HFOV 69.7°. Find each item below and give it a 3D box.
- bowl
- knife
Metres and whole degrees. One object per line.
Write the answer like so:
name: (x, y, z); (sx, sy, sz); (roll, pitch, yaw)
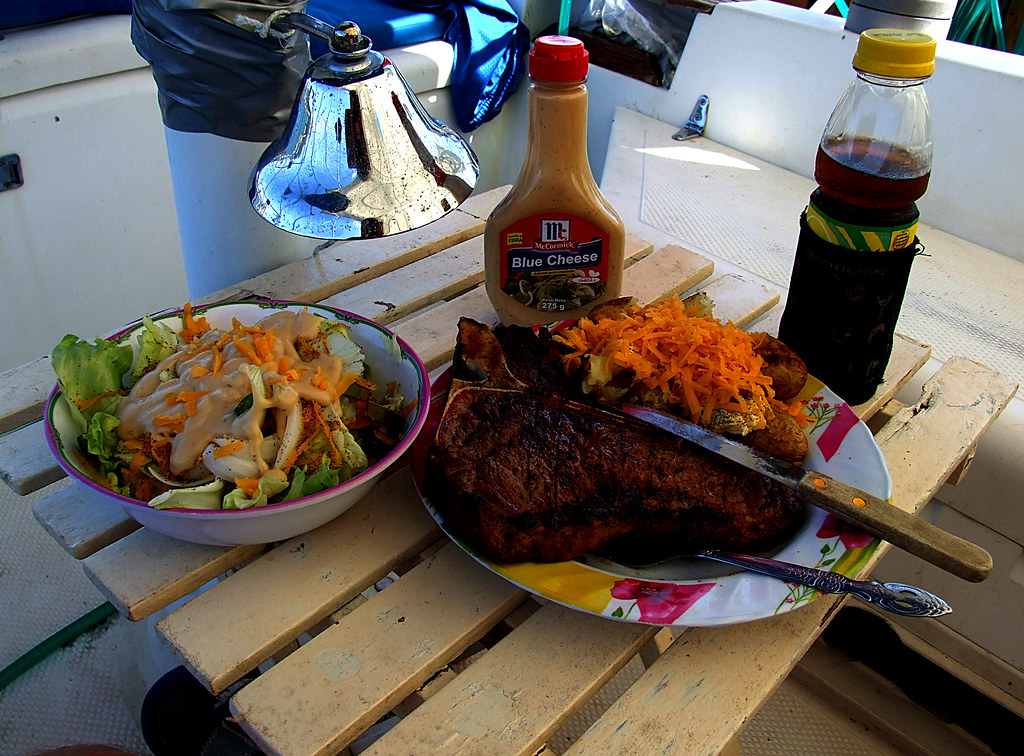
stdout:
bowl: (-0.311, 0.040, 0.871); (0.325, 0.149, 0.341); (3, 33, -2)
knife: (0.311, 0.121, 0.832); (0.405, 0.052, 0.051); (24, 45, 25)
